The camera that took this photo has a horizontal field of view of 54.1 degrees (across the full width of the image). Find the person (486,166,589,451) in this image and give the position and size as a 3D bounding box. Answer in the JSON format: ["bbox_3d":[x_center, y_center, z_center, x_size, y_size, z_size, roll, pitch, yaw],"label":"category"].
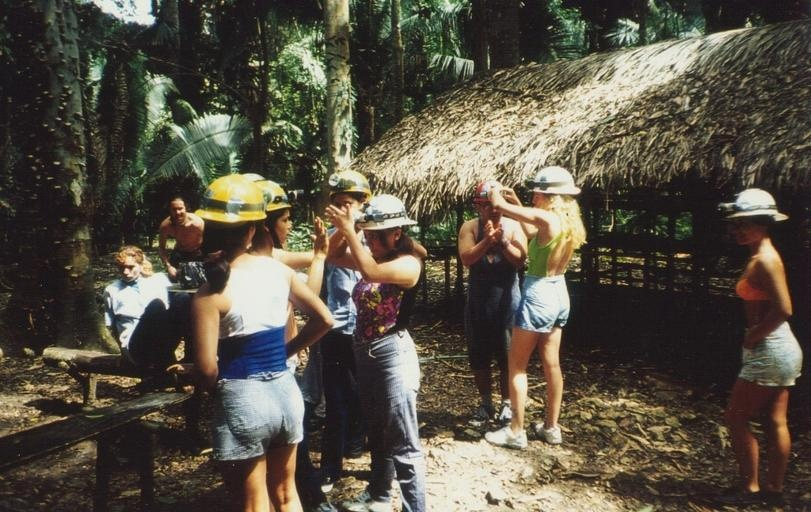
[{"bbox_3d":[1.886,0.732,11.185,1.264,3.949,0.401,-2,3,-12],"label":"person"}]

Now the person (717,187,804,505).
[{"bbox_3d":[4.592,1.165,10.234,0.884,4.038,0.442,0,3,22],"label":"person"}]

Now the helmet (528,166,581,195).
[{"bbox_3d":[2.141,-1.052,11.206,0.602,0.248,0.455,0,10,-12],"label":"helmet"}]

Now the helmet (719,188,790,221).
[{"bbox_3d":[4.525,-0.668,10.405,0.581,0.270,0.609,-2,5,9],"label":"helmet"}]
